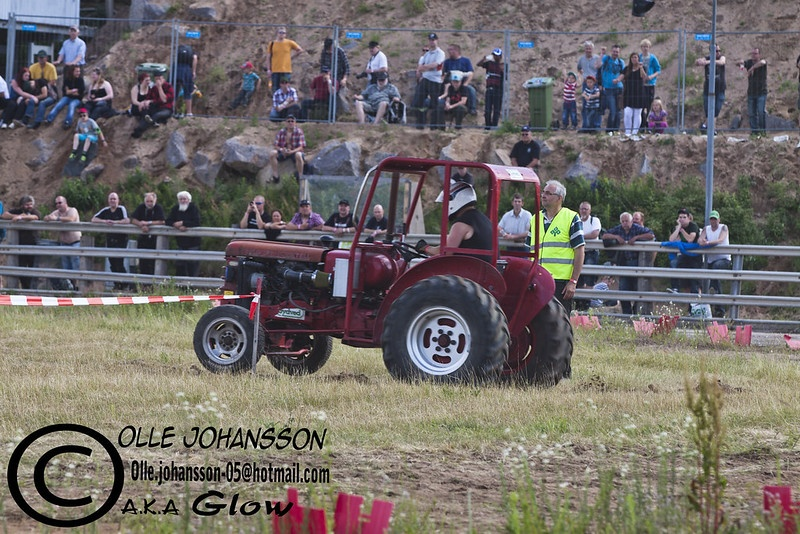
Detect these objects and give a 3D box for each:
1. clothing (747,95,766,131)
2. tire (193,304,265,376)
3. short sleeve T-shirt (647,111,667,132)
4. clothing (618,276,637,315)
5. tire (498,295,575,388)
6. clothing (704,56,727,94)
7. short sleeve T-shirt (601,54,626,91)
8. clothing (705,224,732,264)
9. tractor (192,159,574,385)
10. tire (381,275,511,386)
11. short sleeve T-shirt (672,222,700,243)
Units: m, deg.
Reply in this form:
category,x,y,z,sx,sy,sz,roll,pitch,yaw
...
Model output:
category,x,y,z,sx,sy,sz,roll,pitch,yaw
clothing,10.342,-4.465,58.307,0.524,1.128,0.974,2,3,10
tire,-4.020,1.714,47.084,1.619,1.869,0.593,4,10,16
short sleeve T-shirt,7.441,-4.256,58.303,0.529,1.081,0.588,0,-4,4
clothing,5.898,0.727,52.059,0.512,0.948,0.500,3,3,17
tire,3.077,1.759,46.351,1.724,2.029,0.592,-5,-11,43
clothing,9.062,-5.494,57.825,0.548,1.076,0.534,-4,-17,7
short sleeve T-shirt,6.077,-5.498,57.442,0.750,1.192,0.650,11,-20,-22
clothing,8.152,-0.601,51.825,0.673,0.999,0.716,3,3,20
tractor,-0.391,0.068,47.140,7.700,5.563,4.611,5,1,23
tire,1.065,1.491,45.942,2.173,2.529,0.751,0,-1,11
short sleeve T-shirt,7.372,-0.918,52.098,0.426,0.568,0.623,-5,12,-22
